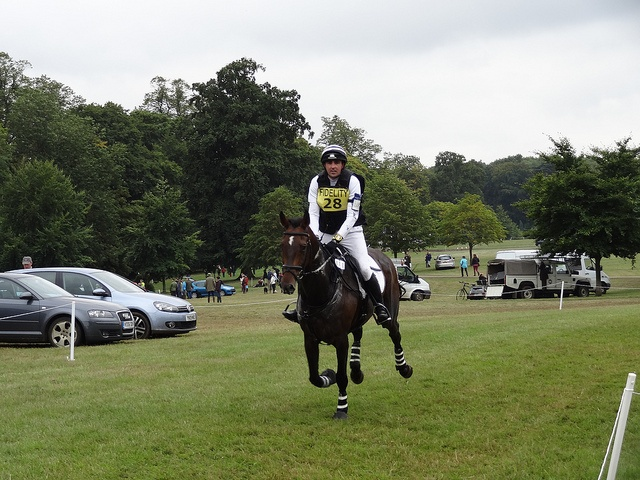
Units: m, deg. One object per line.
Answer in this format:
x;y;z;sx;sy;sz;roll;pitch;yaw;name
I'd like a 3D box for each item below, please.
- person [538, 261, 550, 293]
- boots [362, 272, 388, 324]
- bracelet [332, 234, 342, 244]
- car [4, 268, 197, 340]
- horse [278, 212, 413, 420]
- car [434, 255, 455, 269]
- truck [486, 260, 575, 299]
13.082;1.962;36.839;0.750;1.397;0.348;-5;7;-26;person
0.963;1.030;11.262;0.199;0.910;0.485;-15;-5;21;boots
0.291;-0.033;10.656;0.138;0.114;0.064;-5;11;28;bracelet
-6.445;1.687;18.724;4.931;1.754;2.314;2;-2;3;car
0.062;1.232;10.441;0.842;3.479;2.195;3;8;31;horse
14.010;2.526;70.844;1.645;1.575;1.738;3;8;30;car
12.586;2.169;37.475;4.073;1.977;2.429;-3;2;-12;truck
